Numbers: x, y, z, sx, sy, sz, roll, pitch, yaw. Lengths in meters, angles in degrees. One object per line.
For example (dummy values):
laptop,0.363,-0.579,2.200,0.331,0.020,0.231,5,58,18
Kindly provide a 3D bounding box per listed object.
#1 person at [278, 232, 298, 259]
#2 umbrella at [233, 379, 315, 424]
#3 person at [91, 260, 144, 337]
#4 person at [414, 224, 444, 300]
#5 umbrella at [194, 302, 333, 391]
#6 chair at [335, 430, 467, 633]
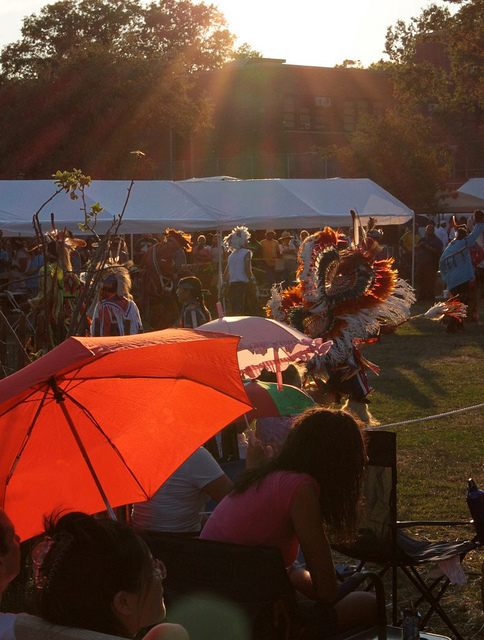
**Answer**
person,1.088,-1.772,17.214,0.404,0.621,0.912,-2,7,3
umbrella,0.139,0.385,3.363,0.502,0.165,0.483,-2,-1,0
person,-1.284,-0.187,7.436,0.425,0.702,0.445,-3,8,-8
person,4.407,-1.359,16.985,0.572,1.755,0.983,0,8,15
umbrella,0.113,0.143,4.051,0.544,0.315,0.548,-16,-24,25
chair,0.760,0.982,3.296,0.688,0.955,0.609,1,-6,-7
